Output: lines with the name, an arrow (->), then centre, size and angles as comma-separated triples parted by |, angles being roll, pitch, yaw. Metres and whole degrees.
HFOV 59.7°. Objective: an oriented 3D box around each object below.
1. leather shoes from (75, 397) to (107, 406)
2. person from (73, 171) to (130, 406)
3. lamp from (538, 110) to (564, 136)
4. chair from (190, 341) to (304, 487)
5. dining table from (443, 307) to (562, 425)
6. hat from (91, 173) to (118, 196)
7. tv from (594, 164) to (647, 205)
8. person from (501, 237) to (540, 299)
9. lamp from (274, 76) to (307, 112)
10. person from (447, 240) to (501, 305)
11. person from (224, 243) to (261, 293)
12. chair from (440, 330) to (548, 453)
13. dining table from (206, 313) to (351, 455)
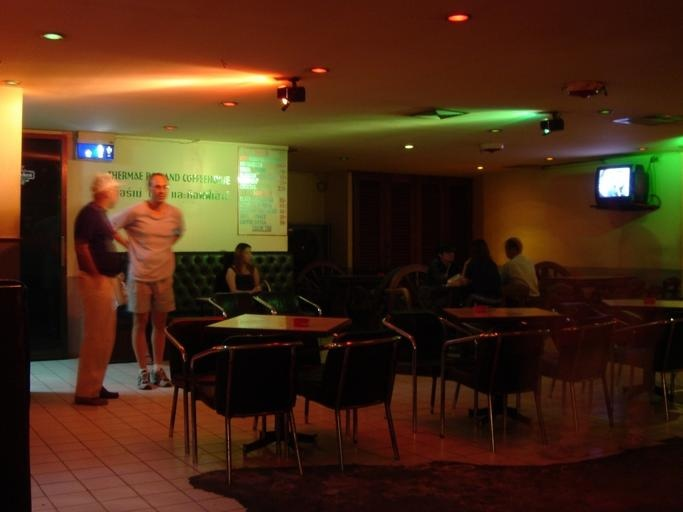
leather shoes -> -2.321, 1.348, 5.590 | 0.286, 0.097, 0.101 | 1, -2, -8
person -> -2.242, 0.311, 5.516 | 0.398, 2.152, 0.453 | -1, 2, -23
lamp -> 2.484, -1.552, 6.956 | 0.338, 0.328, 0.216 | 0, 1, -12
chair -> -0.630, 0.974, 3.969 | 0.644, 0.910, 0.866 | -1, 2, -25
dining table -> 1.357, 0.845, 5.397 | 1.078, 0.962, 1.030 | 0, 0, -17
hat -> -2.172, -0.660, 5.513 | 0.178, 0.195, 0.229 | 14, 29, 43
tv -> 4.773, -1.165, 10.227 | 0.757, 0.563, 0.770 | -1, 1, -15
person -> 2.377, 0.139, 8.270 | 0.640, 0.777, 0.651 | -3, 7, -3
lamp -> -0.473, -1.561, 5.691 | 0.272, 0.222, 0.184 | -3, 9, -19
person -> 1.641, 0.181, 7.305 | 0.418, 0.773, 0.754 | -1, 2, -19
person -> -1.227, 0.207, 7.659 | 0.464, 0.694, 0.401 | -7, 9, -42
chair -> 1.207, 1.080, 4.676 | 0.920, 0.985, 0.720 | 1, 2, -27
dining table -> -0.414, 0.922, 4.341 | 1.036, 0.925, 1.001 | 0, -3, 4
